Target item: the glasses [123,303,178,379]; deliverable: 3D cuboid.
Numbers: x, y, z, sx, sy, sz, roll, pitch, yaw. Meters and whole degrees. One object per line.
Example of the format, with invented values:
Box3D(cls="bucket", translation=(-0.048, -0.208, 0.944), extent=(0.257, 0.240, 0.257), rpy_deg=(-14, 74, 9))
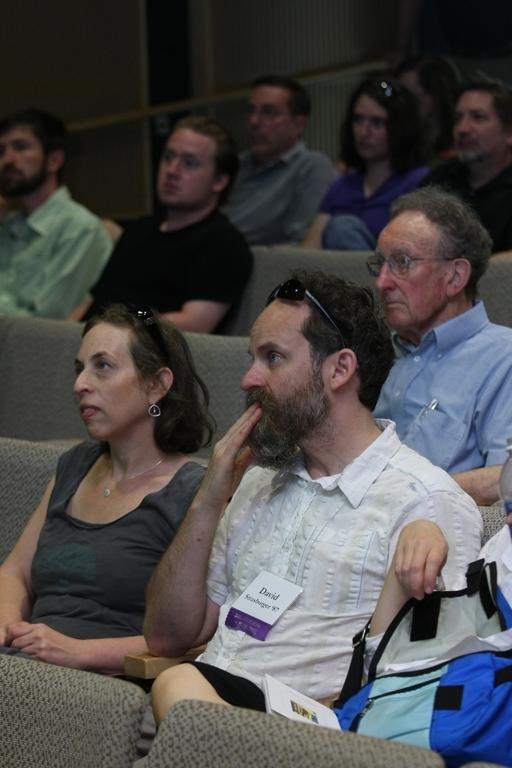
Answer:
Box3D(cls="glasses", translation=(-0.251, -0.115, 1.780), extent=(0.043, 0.133, 0.140), rpy_deg=(-16, 15, -38))
